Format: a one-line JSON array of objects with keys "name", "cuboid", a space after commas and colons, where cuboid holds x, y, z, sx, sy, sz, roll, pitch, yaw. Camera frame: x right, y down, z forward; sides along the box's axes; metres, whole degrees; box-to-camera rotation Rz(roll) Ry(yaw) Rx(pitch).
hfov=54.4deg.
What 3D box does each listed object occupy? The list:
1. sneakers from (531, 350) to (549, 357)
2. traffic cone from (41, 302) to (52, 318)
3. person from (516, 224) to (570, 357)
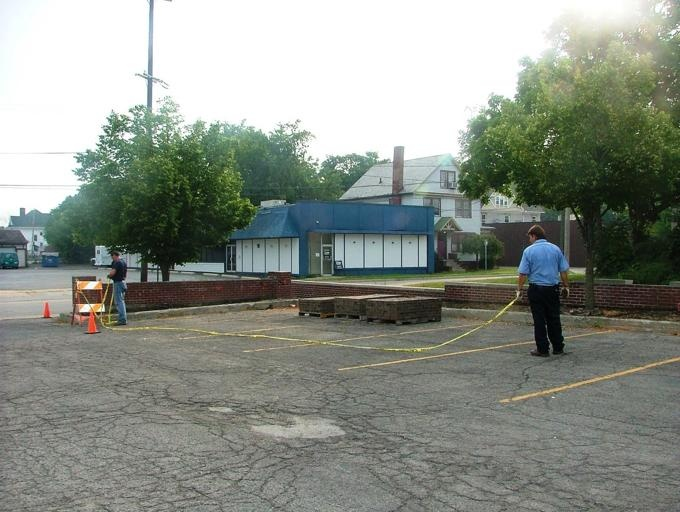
[{"name": "sneakers", "cuboid": [3.711, 1.780, 12.226, 0.136, 0.121, 0.278, -1, 5, -41]}, {"name": "traffic cone", "cuboid": [-9.740, 1.804, 21.972, 0.490, 0.525, 0.421, -2, 3, -26]}, {"name": "person", "cuboid": [3.820, 0.630, 12.389, 0.748, 2.088, 0.944, -4, -2, 42]}]
